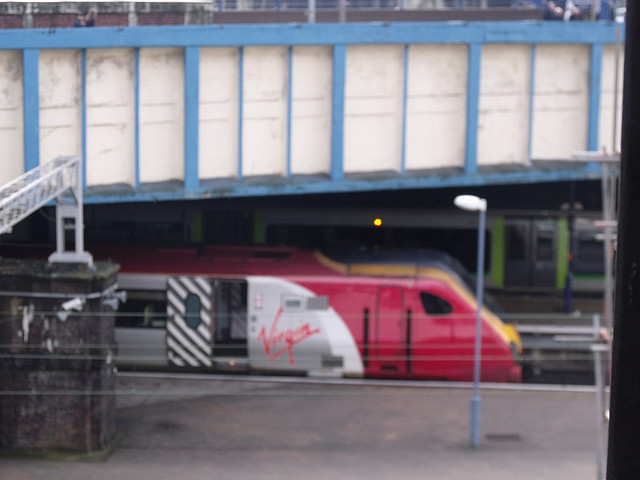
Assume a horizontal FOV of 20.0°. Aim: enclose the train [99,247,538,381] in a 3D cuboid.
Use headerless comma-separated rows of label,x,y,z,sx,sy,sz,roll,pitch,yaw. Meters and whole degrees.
train,-0.442,1.944,44.911,12.314,3.108,2.455,0,3,36
